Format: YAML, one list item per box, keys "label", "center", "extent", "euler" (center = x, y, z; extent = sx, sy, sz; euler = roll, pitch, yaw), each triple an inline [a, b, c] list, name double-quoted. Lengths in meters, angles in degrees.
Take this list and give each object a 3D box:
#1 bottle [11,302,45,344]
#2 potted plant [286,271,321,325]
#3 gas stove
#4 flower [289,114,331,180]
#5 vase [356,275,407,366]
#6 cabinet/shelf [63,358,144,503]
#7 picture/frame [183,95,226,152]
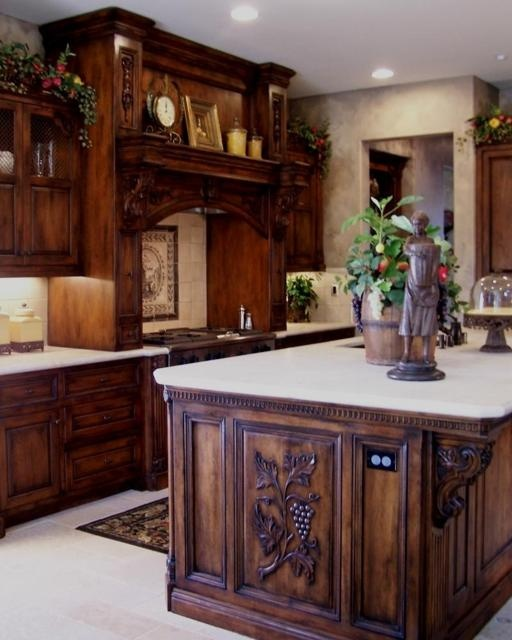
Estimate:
- label: "bottle"
  center: [-1.466, 0.027, 3.639]
  extent: [0.188, 0.265, 0.127]
  euler: [-4, -2, -24]
- label: "potted plant"
  center: [0.558, -0.238, 6.060]
  extent: [0.466, 0.620, 0.475]
  euler: [0, 1, -4]
- label: "gas stove"
  center: [-0.414, 0.190, 4.510]
  extent: [0.526, 0.189, 1.232]
  euler: [-6, -2, 35]
- label: "flower"
  center: [0.599, -1.820, 5.877]
  extent: [0.290, 0.562, 0.575]
  euler: [-19, 13, -19]
- label: "vase"
  center: [0.513, 0.028, 2.199]
  extent: [0.239, 0.325, 0.239]
  euler: [1, 4, 23]
- label: "cabinet/shelf"
  center: [-0.966, 0.673, 3.642]
  extent: [0.158, 0.802, 0.598]
  euler: [-6, -3, 36]
- label: "picture/frame"
  center: [-0.420, -1.530, 4.481]
  extent: [0.131, 0.306, 0.403]
  euler: [-6, -2, 36]
